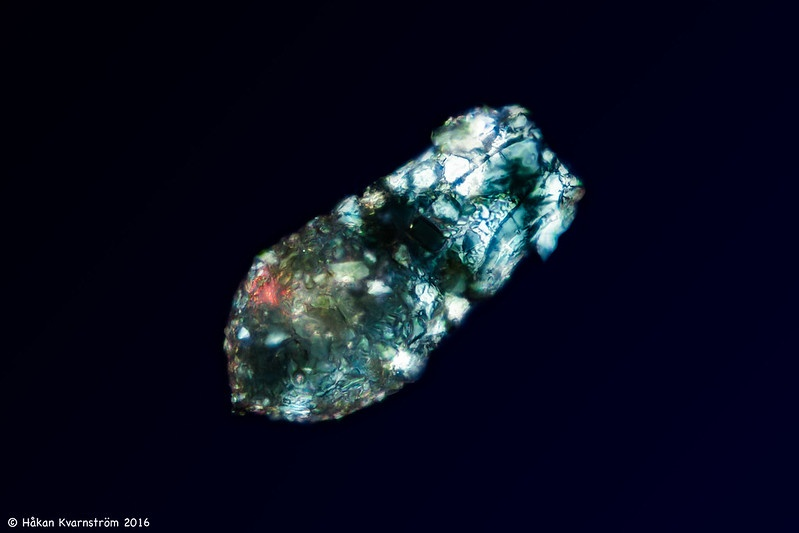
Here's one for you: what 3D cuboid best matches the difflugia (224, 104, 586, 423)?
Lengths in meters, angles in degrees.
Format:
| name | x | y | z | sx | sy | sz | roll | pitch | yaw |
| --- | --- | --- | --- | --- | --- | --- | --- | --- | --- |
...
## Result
| name | x | y | z | sx | sy | sz | roll | pitch | yaw |
| --- | --- | --- | --- | --- | --- | --- | --- | --- | --- |
| difflugia | 0.023 | 0.032 | 12.450 | 2.311 | 4.019 | 0.910 | 49 | -10 | 26 |
